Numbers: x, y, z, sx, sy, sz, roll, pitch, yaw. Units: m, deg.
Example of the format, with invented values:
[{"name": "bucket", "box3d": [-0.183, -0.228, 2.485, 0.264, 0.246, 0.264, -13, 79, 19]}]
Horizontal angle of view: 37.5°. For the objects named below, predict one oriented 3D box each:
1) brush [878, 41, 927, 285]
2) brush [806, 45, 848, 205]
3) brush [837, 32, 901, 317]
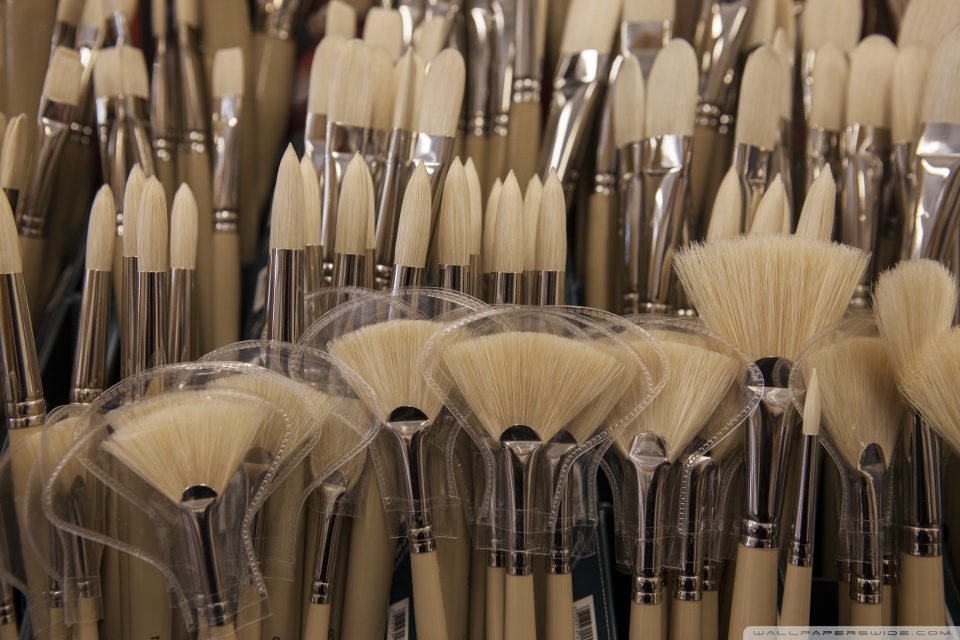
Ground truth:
[{"name": "brush", "box3d": [0.670, -0.281, 2.258, 0.058, 0.315, 0.040, 9, 11, 17]}, {"name": "brush", "box3d": [0.587, -0.311, 2.413, 0.067, 0.063, 0.423, 10, -30, 15]}, {"name": "brush", "box3d": [0.652, -0.226, 2.345, 0.066, 0.520, 0.069, -4, 33, 2]}]
